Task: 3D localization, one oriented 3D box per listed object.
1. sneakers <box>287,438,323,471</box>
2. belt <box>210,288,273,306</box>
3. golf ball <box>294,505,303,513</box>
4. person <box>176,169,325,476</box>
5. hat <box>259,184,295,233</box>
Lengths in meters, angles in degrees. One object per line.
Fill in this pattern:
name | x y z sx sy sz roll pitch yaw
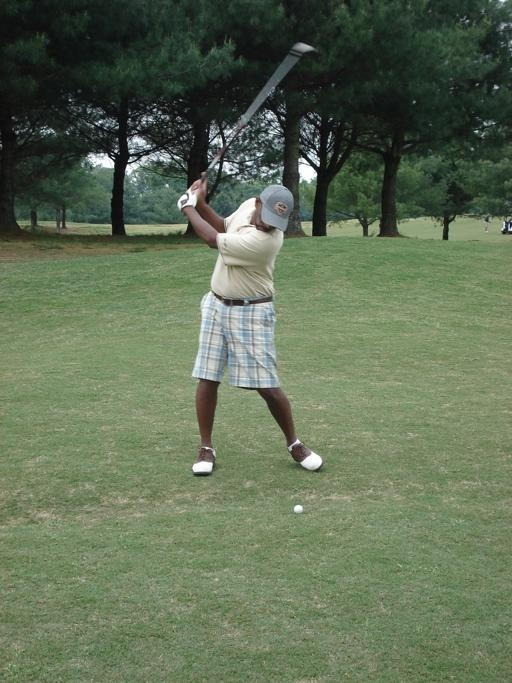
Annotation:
sneakers | 0.275 0.643 4.599 0.109 0.088 0.246 -34 24 -16
belt | -0.080 -0.246 4.657 0.350 0.071 0.161 1 13 -2
golf ball | 0.210 0.820 3.966 0.039 0.031 0.024 19 -21 10
person | -0.036 -0.113 4.682 0.841 1.625 0.994 1 16 -6
hat | 0.106 -0.730 4.459 0.179 0.255 0.258 2 15 -1
